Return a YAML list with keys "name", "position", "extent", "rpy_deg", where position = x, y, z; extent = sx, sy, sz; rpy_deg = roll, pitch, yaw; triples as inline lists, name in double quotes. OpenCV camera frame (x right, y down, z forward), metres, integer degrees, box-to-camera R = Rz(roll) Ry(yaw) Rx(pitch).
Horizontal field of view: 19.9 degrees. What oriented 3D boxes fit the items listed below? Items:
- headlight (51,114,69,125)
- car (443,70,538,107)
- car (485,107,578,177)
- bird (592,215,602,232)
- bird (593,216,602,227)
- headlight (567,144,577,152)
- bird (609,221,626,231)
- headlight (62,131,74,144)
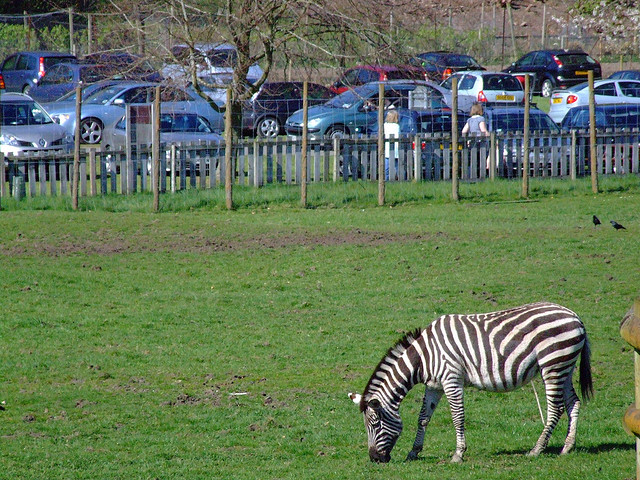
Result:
- name: "headlight"
  position: [-7.696, -3.607, 54.164]
  extent: [0.341, 0.407, 0.127]
  rpy_deg: [1, 6, 4]
- name: "car"
  position: [5.247, -4.787, 60.399]
  extent: [1.675, 2.123, 3.577]
  rpy_deg: [0, 9, -20]
- name: "car"
  position: [5.930, -2.818, 51.839]
  extent: [2.370, 1.578, 2.720]
  rpy_deg: [-3, 1, -1]
- name: "bird"
  position: [6.899, -0.458, 45.734]
  extent: [0.187, 0.529, 0.338]
  rpy_deg: [-1, -7, 38]
- name: "bird"
  position: [6.922, -0.495, 45.710]
  extent: [0.171, 0.185, 0.351]
  rpy_deg: [-2, 2, 9]
- name: "headlight"
  position: [7.052, -2.599, 51.087]
  extent: [0.146, 0.208, 0.165]
  rpy_deg: [-1, 3, -14]
- name: "bird"
  position: [7.349, -0.364, 45.183]
  extent: [0.146, 0.331, 0.433]
  rpy_deg: [-5, 8, 45]
- name: "headlight"
  position: [-7.250, -2.967, 52.669]
  extent: [0.267, 0.336, 0.612]
  rpy_deg: [-2, 1, 7]
